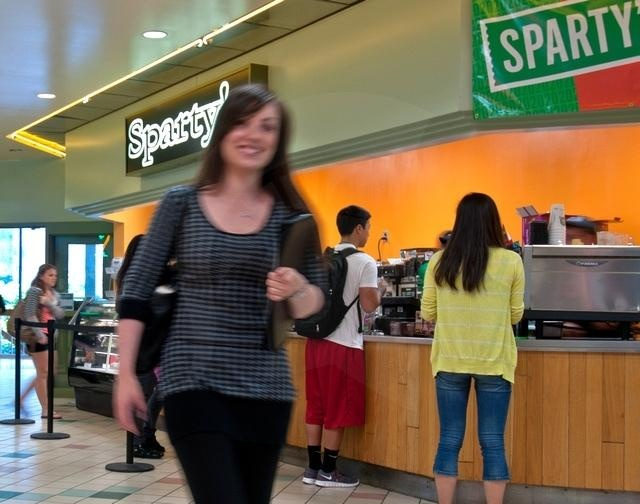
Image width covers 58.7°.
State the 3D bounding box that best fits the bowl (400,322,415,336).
[{"bbox_3d":[0.604,0.528,3.917,0.122,0.107,0.083,1,-6,3],"label":"bowl"}]

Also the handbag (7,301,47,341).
[{"bbox_3d":[-3.374,0.777,6.466,0.573,0.476,0.336,-3,-6,27],"label":"handbag"}]

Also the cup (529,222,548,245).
[{"bbox_3d":[1.479,-0.126,3.903,0.152,0.154,0.145,6,-5,1],"label":"cup"}]

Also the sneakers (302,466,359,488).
[{"bbox_3d":[0.061,1.567,4.051,0.427,0.159,0.143,2,-4,-7],"label":"sneakers"}]

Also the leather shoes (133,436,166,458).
[{"bbox_3d":[-1.383,1.628,4.758,0.350,0.141,0.113,-1,-1,-3],"label":"leather shoes"}]
